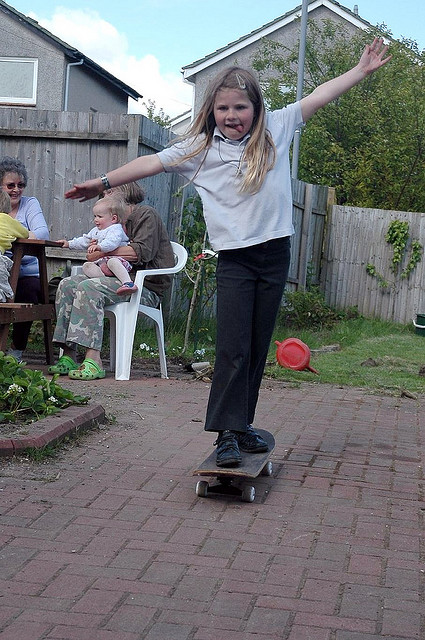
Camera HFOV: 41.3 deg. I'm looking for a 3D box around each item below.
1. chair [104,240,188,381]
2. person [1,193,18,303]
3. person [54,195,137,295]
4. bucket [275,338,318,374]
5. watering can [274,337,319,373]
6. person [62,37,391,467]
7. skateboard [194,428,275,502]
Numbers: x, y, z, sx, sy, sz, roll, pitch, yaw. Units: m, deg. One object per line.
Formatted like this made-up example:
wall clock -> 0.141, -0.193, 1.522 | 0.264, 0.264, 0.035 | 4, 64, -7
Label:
chair -> -0.821, -0.087, 5.168 | 1.030, 1.152, 1.013 | 4, -2, -23
person -> -1.735, -0.630, 4.788 | 0.144, 0.694, 0.544 | 2, 1, -21
person -> -1.001, -0.661, 4.885 | 0.652, 0.860, 0.646 | -6, 5, -29
bucket -> 0.862, 0.366, 6.038 | 0.530, 0.309, 0.581 | 3, 7, 0
watering can -> 0.824, 0.368, 6.149 | 0.535, 0.305, 0.582 | 3, 7, -8
person -> 0.122, -0.317, 2.429 | 1.088, 1.607, 0.411 | 2, 1, -14
skateboard -> 0.105, 0.643, 2.478 | 0.301, 0.229, 0.575 | 3, 0, 8
